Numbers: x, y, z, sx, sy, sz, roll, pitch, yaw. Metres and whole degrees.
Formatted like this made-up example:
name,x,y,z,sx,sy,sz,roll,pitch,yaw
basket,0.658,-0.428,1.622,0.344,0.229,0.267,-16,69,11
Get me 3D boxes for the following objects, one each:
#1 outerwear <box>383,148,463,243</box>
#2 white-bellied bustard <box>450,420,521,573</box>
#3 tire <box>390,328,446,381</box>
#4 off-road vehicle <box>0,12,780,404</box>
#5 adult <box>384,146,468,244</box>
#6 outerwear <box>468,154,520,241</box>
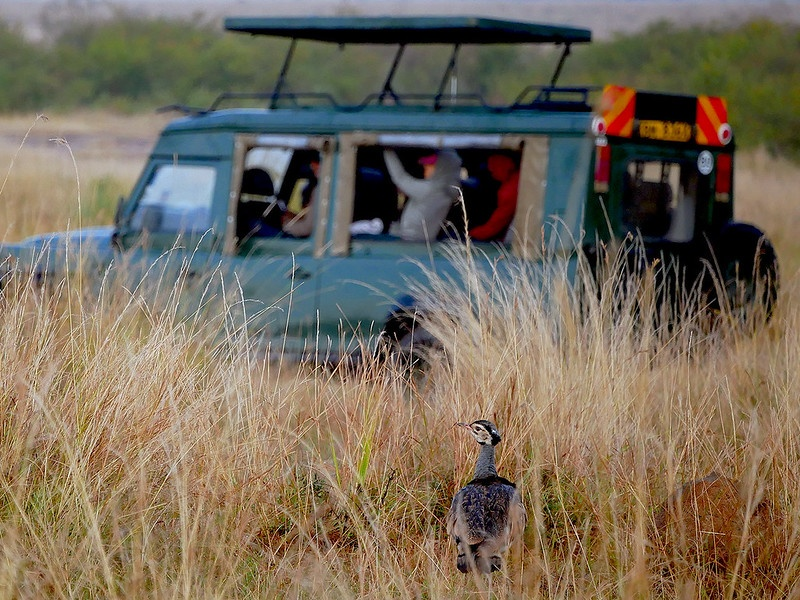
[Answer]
name,x,y,z,sx,sy,sz,roll,pitch,yaw
outerwear,0.206,-0.850,8.805,0.330,0.639,0.464,12,-13,29
white-bellied bustard,0.487,1.191,6.211,0.388,0.978,1.055,0,0,6
tire,0.137,0.420,8.051,0.397,0.355,1.030,4,2,0
off-road vehicle,0.186,-0.857,8.561,4.955,2.343,1.492,4,1,6
adult,0.159,-0.850,8.960,0.526,0.819,0.517,10,-6,30
outerwear,0.776,-0.809,8.798,0.182,0.626,0.534,21,-12,11
